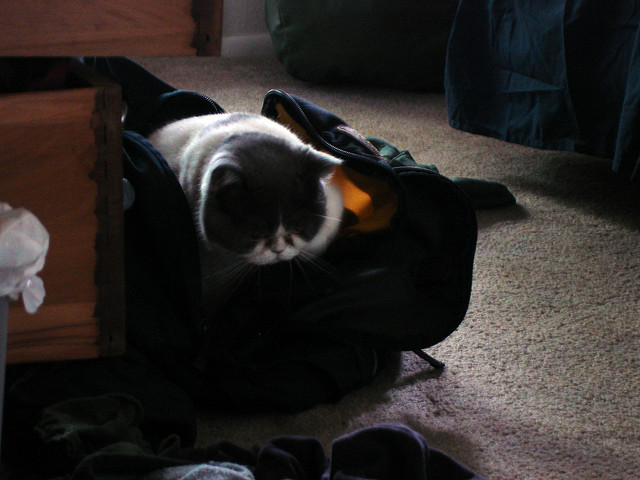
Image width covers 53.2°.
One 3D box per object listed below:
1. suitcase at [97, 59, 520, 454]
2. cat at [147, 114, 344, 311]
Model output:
[{"bbox_3d":[-0.068,-0.083,1.281,0.606,0.273,0.714,5,20,-13],"label":"suitcase"},{"bbox_3d":[-0.152,-0.088,1.093,0.275,0.145,0.353,-20,52,-28],"label":"cat"}]
